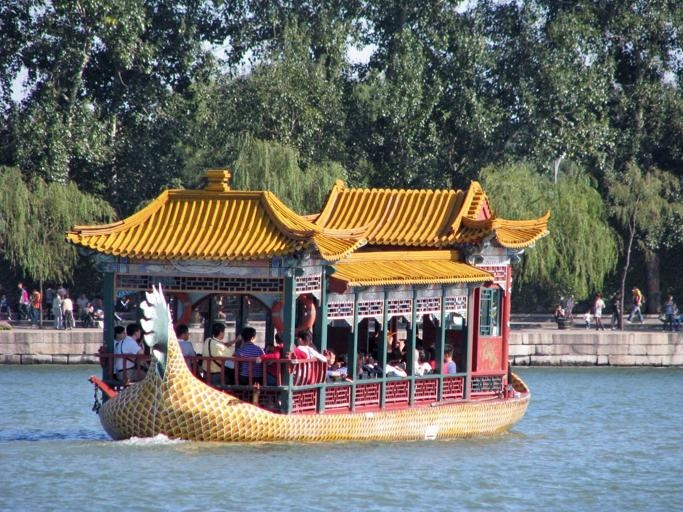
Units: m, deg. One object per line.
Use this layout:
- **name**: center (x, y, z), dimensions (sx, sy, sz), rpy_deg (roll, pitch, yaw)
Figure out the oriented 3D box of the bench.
- **bench**: center (-4.077, 3.763, 65.534), dimensions (7.796, 1.539, 1.770), rpy_deg (1, 12, -4)
